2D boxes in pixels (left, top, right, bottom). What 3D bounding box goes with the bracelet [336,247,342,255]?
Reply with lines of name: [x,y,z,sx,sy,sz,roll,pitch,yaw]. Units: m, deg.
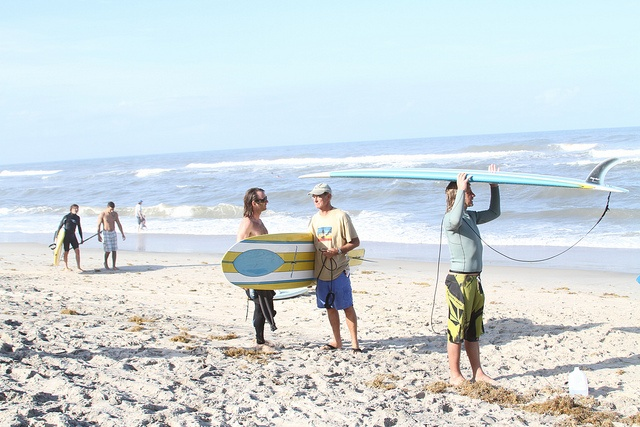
bracelet: [0.300,0.597,12.563,0.088,0.096,0.039,-10,-23,13]

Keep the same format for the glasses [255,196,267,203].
glasses: [-0.933,-0.210,12.663,0.214,0.085,0.077,-9,10,-34]

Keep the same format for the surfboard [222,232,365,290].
surfboard: [-0.341,0.791,12.987,2.843,0.768,0.288,1,4,-29]

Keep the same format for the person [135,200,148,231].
person: [-6.040,0.044,26.495,0.302,0.965,1.397,-8,9,-12]

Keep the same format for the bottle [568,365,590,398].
bottle: [3.915,2.528,11.976,0.299,0.436,0.204,-2,10,15]

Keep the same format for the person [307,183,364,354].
person: [0.278,0.879,12.773,0.766,2.769,0.463,-6,10,-1]

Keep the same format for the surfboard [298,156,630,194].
surfboard: [2.509,-0.512,12.528,4.462,0.505,1.058,-2,8,7]

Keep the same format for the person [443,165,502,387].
person: [2.283,0.987,12.108,0.796,3.226,0.809,-4,10,11]
